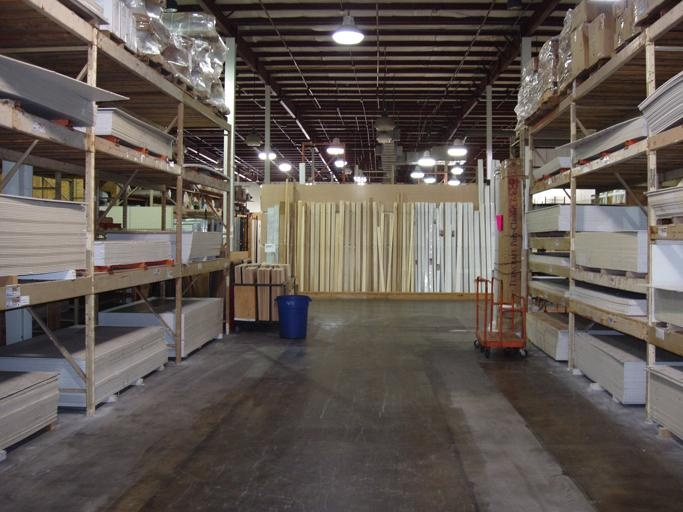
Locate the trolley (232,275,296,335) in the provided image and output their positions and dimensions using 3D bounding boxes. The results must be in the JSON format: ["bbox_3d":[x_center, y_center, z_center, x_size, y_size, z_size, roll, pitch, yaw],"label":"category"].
[{"bbox_3d":[-1.514,0.913,9.862,0.973,0.993,0.790,0,-2,3],"label":"trolley"}]

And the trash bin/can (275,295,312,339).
[{"bbox_3d":[-0.847,1.016,9.292,0.765,0.810,0.661,1,-1,1],"label":"trash bin/can"}]

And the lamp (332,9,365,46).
[{"bbox_3d":[0.087,-4.047,9.179,0.490,0.556,0.591,-2,8,-13],"label":"lamp"}]
